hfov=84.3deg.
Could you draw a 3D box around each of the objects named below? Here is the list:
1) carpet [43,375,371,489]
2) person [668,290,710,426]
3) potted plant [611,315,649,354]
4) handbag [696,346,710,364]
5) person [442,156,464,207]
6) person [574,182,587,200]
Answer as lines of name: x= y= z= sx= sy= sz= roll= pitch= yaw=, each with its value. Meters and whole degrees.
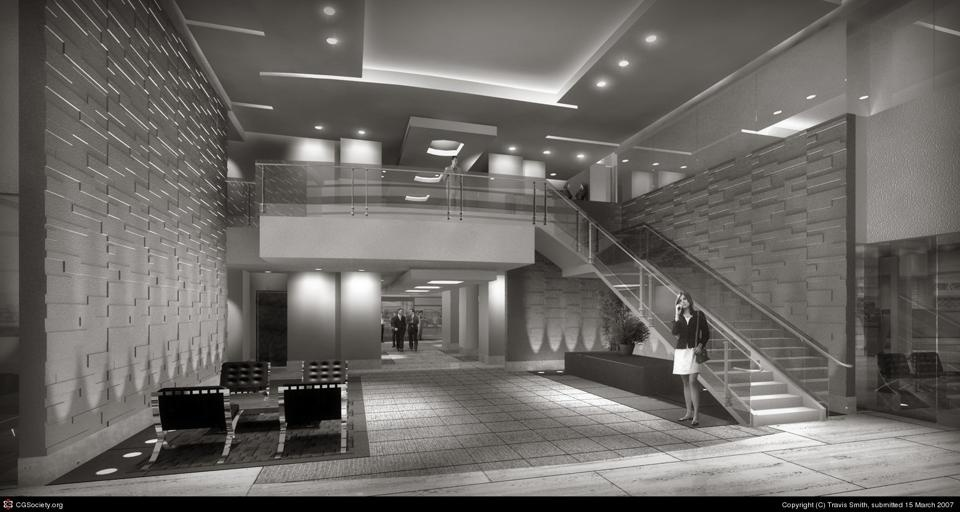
carpet: x=-5.282 y=3.995 z=11.256 sx=5.580 sy=0.243 sz=2.231 roll=-1 pitch=5 yaw=-9
person: x=4.875 y=2.371 z=12.319 sx=0.768 sy=2.955 sz=0.930 roll=1 pitch=6 yaw=22
potted plant: x=4.834 y=2.619 z=17.394 sx=1.398 sy=1.128 sz=1.236 roll=2 pitch=-7 yaw=-4
handbag: x=5.128 y=2.269 z=12.159 sx=0.429 sy=0.424 sz=0.144 roll=-3 pitch=6 yaw=-18
person: x=-0.835 y=-2.096 z=16.631 sx=0.583 sy=1.231 sz=0.755 roll=-1 pitch=6 yaw=-1
person: x=3.965 y=-2.384 z=20.715 sx=0.350 sy=0.357 sz=1.016 roll=-1 pitch=-8 yaw=8
